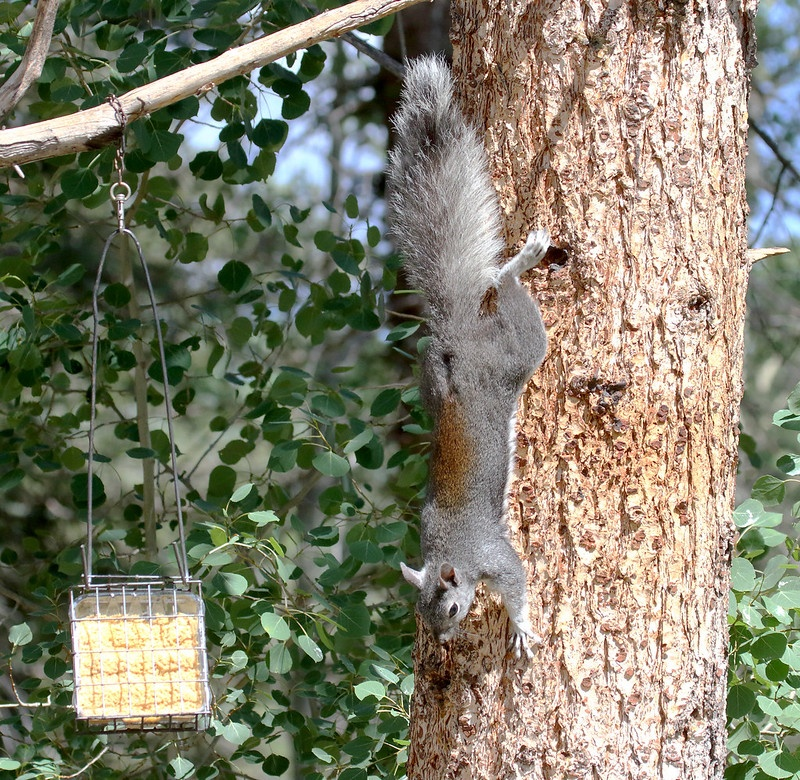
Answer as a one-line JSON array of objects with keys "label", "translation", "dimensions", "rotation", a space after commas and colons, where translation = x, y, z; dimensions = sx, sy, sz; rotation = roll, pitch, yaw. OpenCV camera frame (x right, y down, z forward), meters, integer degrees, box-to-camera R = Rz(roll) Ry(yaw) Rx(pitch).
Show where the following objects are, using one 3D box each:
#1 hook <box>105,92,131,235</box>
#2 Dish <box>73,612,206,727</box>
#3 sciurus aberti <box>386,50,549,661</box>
[{"label": "hook", "translation": [-1.070, -0.887, 7.965], "dimensions": [0.113, 0.629, 0.145], "rotation": [-3, 16, -6]}, {"label": "Dish", "translation": [-0.939, 1.033, 7.603], "dimensions": [0.470, 0.304, 0.409], "rotation": [-4, 38, -7]}, {"label": "sciurus aberti", "translation": [0.255, -0.157, 7.842], "dimensions": [0.653, 2.120, 0.663], "rotation": [0, 7, 36]}]
